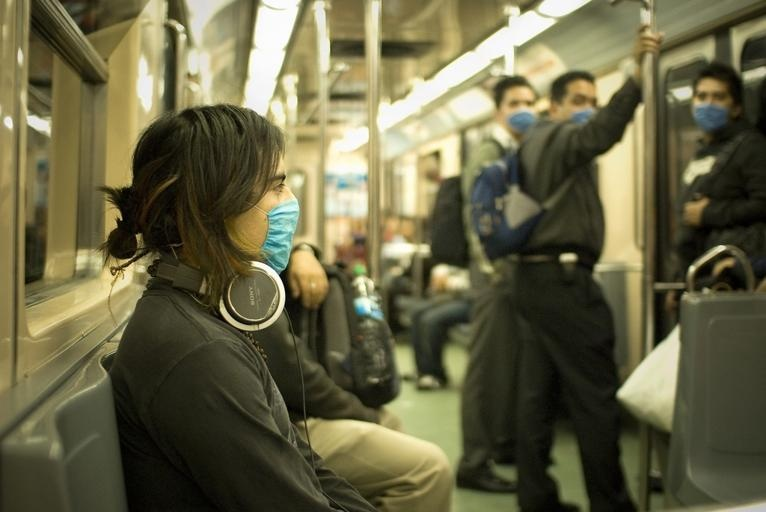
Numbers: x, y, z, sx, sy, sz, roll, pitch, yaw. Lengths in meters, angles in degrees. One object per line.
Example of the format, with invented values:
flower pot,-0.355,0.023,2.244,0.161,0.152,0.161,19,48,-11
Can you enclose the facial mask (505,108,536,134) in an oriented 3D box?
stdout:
facial mask,0.533,-0.526,2.811,0.093,0.078,0.095,-3,1,1

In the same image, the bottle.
bottle,-0.067,0.300,2.729,0.153,0.472,0.186,-8,-8,18

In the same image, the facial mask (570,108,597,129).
facial mask,0.769,-0.528,2.778,0.066,0.041,0.068,-8,4,3

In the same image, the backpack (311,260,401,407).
backpack,-0.105,0.291,2.721,0.152,0.471,0.428,-5,1,-28

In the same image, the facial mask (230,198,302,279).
facial mask,-0.354,-0.061,2.174,0.181,0.125,0.154,-2,6,-12

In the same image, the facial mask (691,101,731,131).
facial mask,1.215,-0.517,2.684,0.100,0.085,0.102,5,-3,23
